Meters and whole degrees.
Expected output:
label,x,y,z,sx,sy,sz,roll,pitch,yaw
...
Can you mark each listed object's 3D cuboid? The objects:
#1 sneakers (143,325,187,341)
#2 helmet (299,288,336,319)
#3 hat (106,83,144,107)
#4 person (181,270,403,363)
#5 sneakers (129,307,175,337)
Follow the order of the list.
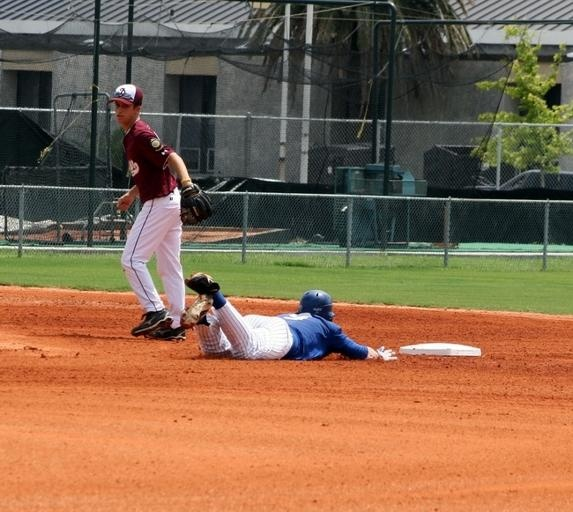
label,x,y,z,sx,sy,sz,roll,pitch,yaw
sneakers,-1.345,0.861,13.793,0.511,0.184,0.212,5,42,-6
helmet,0.353,0.525,13.307,0.338,0.286,0.282,-5,11,-31
hat,-1.662,-1.719,13.526,0.416,0.217,0.270,14,3,-39
person,-0.253,0.706,13.016,1.508,0.526,0.941,6,-10,-27
sneakers,-1.442,0.730,13.527,0.540,0.189,0.244,-27,55,-20
